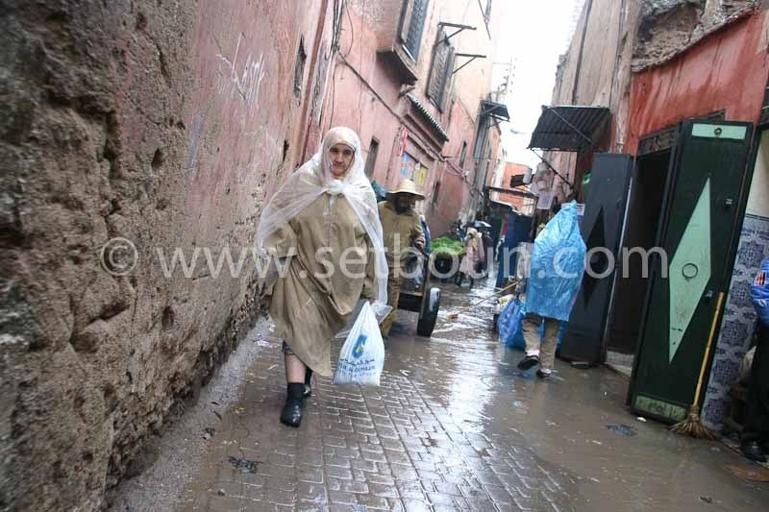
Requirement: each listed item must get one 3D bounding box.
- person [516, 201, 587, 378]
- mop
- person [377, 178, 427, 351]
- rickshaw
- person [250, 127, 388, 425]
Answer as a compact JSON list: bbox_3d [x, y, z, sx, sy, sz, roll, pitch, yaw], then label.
[{"bbox_3d":[2.148,0.422,5.875,0.704,2.127,0.539,8,4,1],"label":"person"},{"bbox_3d":[3.215,1.097,4.670,0.374,1.740,0.314,9,4,14],"label":"mop"},{"bbox_3d":[0.110,0.044,6.612,0.835,2.199,0.705,7,5,-5],"label":"person"},{"bbox_3d":[0.548,0.620,7.111,0.778,0.907,1.138,5,-9,9],"label":"rickshaw"},{"bbox_3d":[-0.587,0.034,4.048,1.029,2.406,0.979,10,4,36],"label":"person"}]
